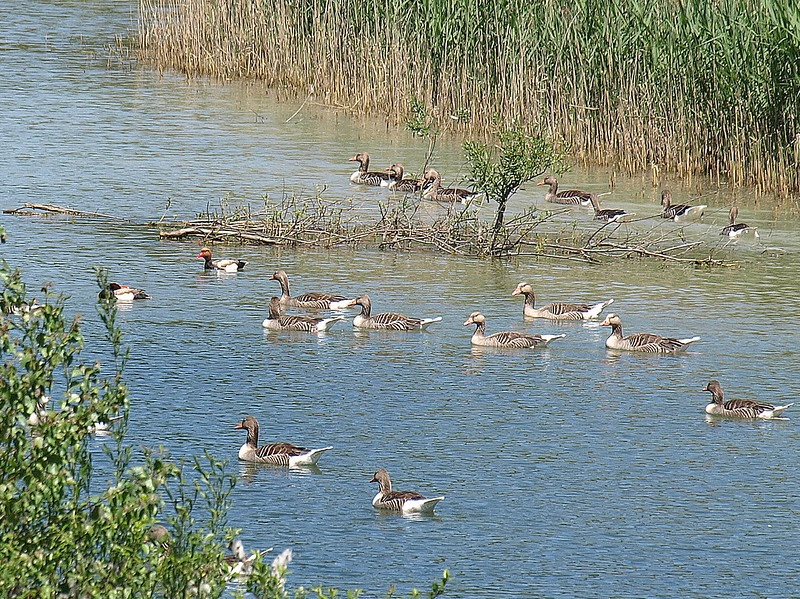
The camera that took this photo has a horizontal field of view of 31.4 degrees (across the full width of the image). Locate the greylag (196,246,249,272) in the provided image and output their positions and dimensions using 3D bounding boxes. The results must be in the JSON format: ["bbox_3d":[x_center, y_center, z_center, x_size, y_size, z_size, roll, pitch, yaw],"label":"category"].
[{"bbox_3d":[-3.419,-0.763,27.542,1.072,0.597,0.389,5,-4,-4],"label":"greylag"}]

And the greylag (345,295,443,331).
[{"bbox_3d":[-0.278,0.226,24.464,1.845,0.723,0.554,4,1,17],"label":"greylag"}]

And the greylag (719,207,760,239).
[{"bbox_3d":[7.262,-1.580,30.452,0.806,0.346,0.749,-17,8,-1],"label":"greylag"}]

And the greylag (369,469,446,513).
[{"bbox_3d":[0.019,2.426,17.564,1.091,0.640,0.443,-9,-17,44],"label":"greylag"}]

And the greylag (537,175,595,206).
[{"bbox_3d":[4.019,-2.479,33.211,1.632,0.629,0.446,9,8,39],"label":"greylag"}]

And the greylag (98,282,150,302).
[{"bbox_3d":[-4.433,-0.110,22.895,0.947,0.376,0.278,7,1,9],"label":"greylag"}]

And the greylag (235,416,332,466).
[{"bbox_3d":[-1.578,1.923,18.796,1.392,0.669,0.461,-1,-11,30],"label":"greylag"}]

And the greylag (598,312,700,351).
[{"bbox_3d":[4.073,0.570,23.231,1.631,0.654,0.506,1,9,21],"label":"greylag"}]
